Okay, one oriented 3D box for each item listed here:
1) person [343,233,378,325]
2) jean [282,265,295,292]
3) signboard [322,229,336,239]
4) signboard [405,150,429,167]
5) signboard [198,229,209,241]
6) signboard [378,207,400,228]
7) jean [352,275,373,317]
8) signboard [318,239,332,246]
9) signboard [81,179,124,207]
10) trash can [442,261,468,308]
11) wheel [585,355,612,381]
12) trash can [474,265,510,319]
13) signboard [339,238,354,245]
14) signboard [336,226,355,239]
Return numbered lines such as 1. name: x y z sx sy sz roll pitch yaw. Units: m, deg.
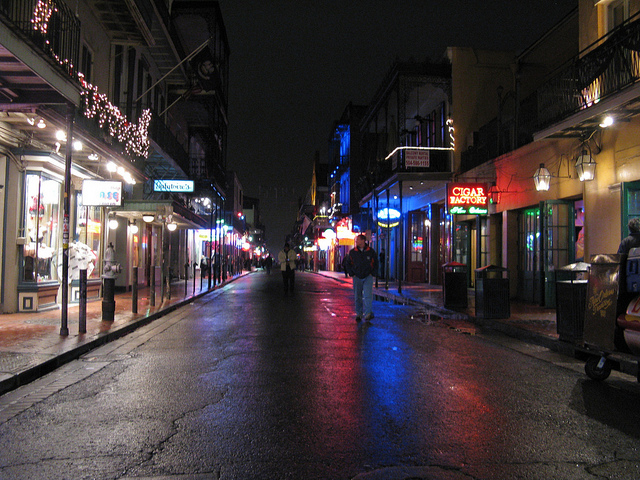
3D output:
1. person: 1.085 1.005 15.028 0.769 2.259 0.693 -4 -4 37
2. jean: -1.313 1.541 23.022 0.405 1.043 0.931 -1 -4 -6
3. signboard: 0.749 -0.570 47.631 0.792 0.796 1.996 -2 -4 3
4. signboard: 4.118 -3.459 24.153 0.853 0.718 0.233 -3 -3 1
5. signboard: -7.779 -0.328 37.775 0.717 0.870 0.766 0 -4 7
6. signboard: 3.024 -1.059 25.501 0.736 1.043 2.383 -1 -4 -2
7. jean: 1.099 1.449 15.100 0.466 1.031 0.735 0 -4 -23
8. signboard: 0.414 0.154 53.048 0.899 0.709 4.055 -1 -4 -6
9. signboard: -5.373 -1.144 14.011 0.794 0.671 0.121 1 -2 -2
10. trash can: 4.145 1.365 17.664 0.901 1.418 0.893 3 -6 -41
11. wheel: 4.439 2.042 9.150 0.359 0.454 0.141 0 1 10
12. trash can: 4.529 1.293 14.735 0.809 1.380 0.852 -4 -4 38
13. signboard: 1.606 0.069 36.222 0.803 0.425 1.217 -5 -5 39
14. signboard: 1.628 -0.490 38.065 1.141 1.072 2.902 -2 -4 2
